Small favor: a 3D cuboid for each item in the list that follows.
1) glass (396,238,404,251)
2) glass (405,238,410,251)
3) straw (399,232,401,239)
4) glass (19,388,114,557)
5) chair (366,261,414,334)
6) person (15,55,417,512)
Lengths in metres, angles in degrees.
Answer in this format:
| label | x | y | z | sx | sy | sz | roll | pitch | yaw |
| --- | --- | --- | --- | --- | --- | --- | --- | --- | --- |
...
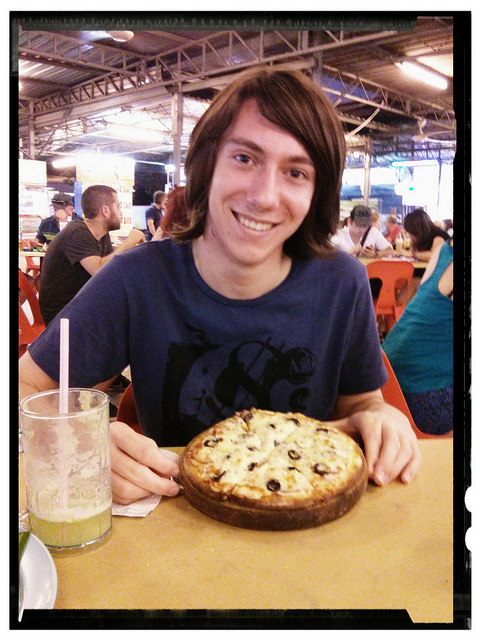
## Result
| label | x | y | z | sx | sy | sz | roll | pitch | yaw |
| --- | --- | --- | --- | --- | --- | --- | --- | --- | --- |
| glass | 0.637 | -0.303 | 1.901 | 0.027 | 0.063 | 0.032 | -1 | 5 | -9 |
| glass | 0.624 | -0.280 | 1.773 | 0.023 | 0.053 | 0.027 | 0 | 4 | 10 |
| straw | 0.620 | -0.320 | 1.841 | 0.007 | 0.020 | 0.048 | 5 | 12 | 17 |
| glass | -0.288 | 0.231 | 0.808 | 0.120 | 0.279 | 0.149 | 3 | 22 | -5 |
| chair | 1.150 | -0.078 | 3.483 | 0.270 | 0.594 | 0.307 | -14 | -24 | 42 |
| person | -0.055 | -0.139 | 1.328 | 0.859 | 1.143 | 0.582 | -1 | 10 | -16 |
